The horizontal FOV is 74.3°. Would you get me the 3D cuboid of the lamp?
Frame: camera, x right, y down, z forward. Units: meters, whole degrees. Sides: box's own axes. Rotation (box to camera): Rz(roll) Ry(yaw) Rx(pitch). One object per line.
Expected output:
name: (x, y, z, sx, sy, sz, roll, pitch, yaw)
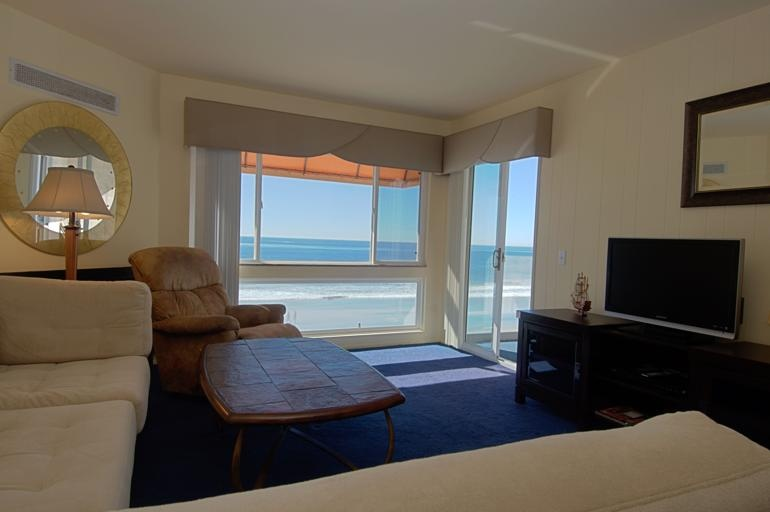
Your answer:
lamp: (-2.626, -0.264, 4.224, 0.562, 0.913, 0.618, -8, 13, -33)
